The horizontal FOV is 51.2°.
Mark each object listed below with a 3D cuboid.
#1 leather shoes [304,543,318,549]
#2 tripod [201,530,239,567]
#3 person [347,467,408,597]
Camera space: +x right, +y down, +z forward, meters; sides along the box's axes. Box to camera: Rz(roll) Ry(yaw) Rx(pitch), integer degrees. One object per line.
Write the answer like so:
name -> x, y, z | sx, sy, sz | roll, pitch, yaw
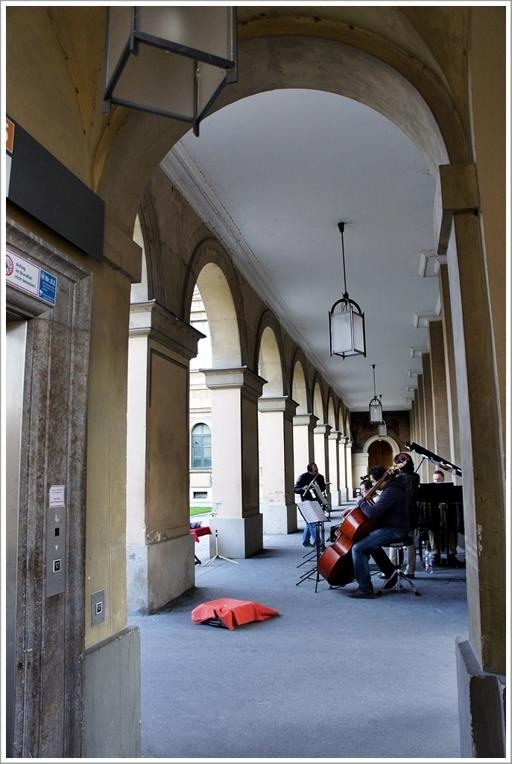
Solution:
leather shoes -> 1.202, 3.722, 12.100 | 0.208, 0.098, 0.159 | 7, -7, -2
tripod -> -0.730, 3.261, 10.532 | 0.525, 0.662, 0.558 | -28, -40, 29
person -> 1.680, 1.996, 7.160 | 0.801, 1.637, 0.942 | -9, -12, 36
